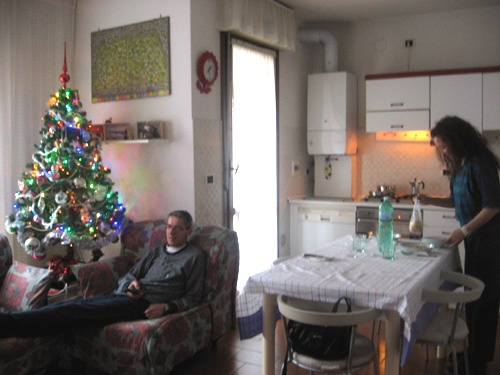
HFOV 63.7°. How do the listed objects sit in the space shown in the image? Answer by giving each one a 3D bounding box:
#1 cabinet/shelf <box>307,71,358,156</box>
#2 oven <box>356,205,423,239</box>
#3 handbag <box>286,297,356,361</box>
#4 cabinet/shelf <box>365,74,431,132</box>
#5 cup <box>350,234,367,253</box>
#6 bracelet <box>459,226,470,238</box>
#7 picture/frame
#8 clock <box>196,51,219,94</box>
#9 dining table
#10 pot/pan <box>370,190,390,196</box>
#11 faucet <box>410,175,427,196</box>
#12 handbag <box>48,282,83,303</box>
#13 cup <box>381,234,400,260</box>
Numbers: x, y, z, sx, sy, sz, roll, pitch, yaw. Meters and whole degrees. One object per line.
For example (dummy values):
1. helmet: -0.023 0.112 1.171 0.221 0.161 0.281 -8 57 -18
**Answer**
1. cabinet/shelf: 1.159 -1.059 5.759 0.694 1.154 0.283 2 10 7
2. oven: 1.789 0.607 5.350 0.650 0.708 0.475 2 -6 20
3. handbag: 0.437 0.877 2.615 0.446 0.488 0.226 9 27 5
4. cabinet/shelf: 1.986 -1.073 5.566 0.820 0.808 0.488 1 -7 13
5. cup: 0.917 0.460 3.389 0.118 0.135 0.117 1 -5 0
6. bracelet: 1.732 0.346 3.244 0.068 0.100 0.041 -1 -34 38
7. picture/frame: -1.317 -1.461 4.511 0.949 0.786 0.036 3 5 32
8. clock: -0.468 -1.252 4.389 0.085 0.449 0.411 5 11 23
9. dining table: 0.638 0.645 2.791 0.852 0.481 1.134 -1 1 27
10. pot/pan: 1.792 0.084 5.688 0.265 0.096 0.268 -1 1 -38
11. faucet: 2.311 -0.014 5.634 0.190 0.227 0.238 10 14 43
12. handbag: -1.863 1.055 3.998 0.180 0.202 0.272 -1 0 33
13. cup: 1.098 0.483 3.223 0.168 0.190 0.173 0 3 0
